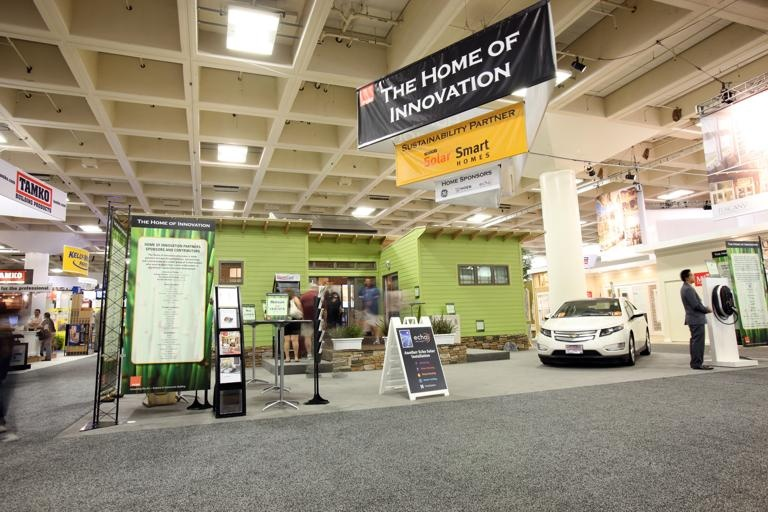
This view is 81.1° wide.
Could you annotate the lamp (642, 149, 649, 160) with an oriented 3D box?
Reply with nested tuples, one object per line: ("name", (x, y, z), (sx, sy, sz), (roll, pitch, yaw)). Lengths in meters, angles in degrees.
("lamp", (9.834, -3.948, 16.829), (0.285, 0.428, 0.136), (4, -11, 7))

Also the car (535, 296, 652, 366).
("car", (5.528, 1.938, 11.600), (2.916, 1.775, 1.663), (3, -13, -36))

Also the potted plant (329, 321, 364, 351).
("potted plant", (-1.118, 2.287, 12.771), (0.841, 0.588, 0.719), (2, -14, -15))

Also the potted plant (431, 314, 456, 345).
("potted plant", (1.880, 2.193, 13.537), (0.821, 0.610, 0.902), (-1, -5, 0))

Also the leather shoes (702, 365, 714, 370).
("leather shoes", (7.438, 2.555, 10.298), (0.306, 0.118, 0.102), (-1, -5, -5))

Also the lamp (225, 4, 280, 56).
("lamp", (-2.907, -4.934, 9.731), (0.806, 0.188, 0.733), (5, -18, -17))

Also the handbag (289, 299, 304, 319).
("handbag", (-2.048, 1.204, 10.378), (0.273, 0.467, 0.461), (-2, -11, -11))

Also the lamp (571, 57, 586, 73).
("lamp", (4.958, -4.955, 11.394), (0.357, 0.352, 0.209), (33, 52, 31))
